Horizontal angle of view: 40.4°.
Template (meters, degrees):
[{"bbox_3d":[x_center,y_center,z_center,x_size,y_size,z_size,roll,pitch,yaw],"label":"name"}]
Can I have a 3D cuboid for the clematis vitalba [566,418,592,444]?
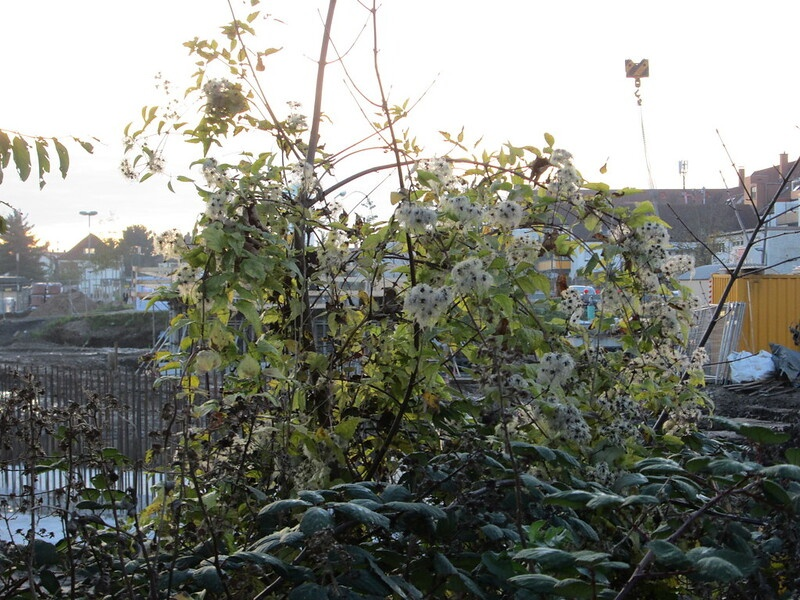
[{"bbox_3d":[0.779,0.568,4.728,0.093,0.111,0.098,-4,-8,16],"label":"clematis vitalba"}]

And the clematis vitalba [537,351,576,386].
[{"bbox_3d":[0.710,0.292,4.866,0.155,0.144,0.149,0,-38,7],"label":"clematis vitalba"}]

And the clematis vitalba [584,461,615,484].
[{"bbox_3d":[0.876,0.746,4.730,0.124,0.095,0.121,-2,-8,4],"label":"clematis vitalba"}]

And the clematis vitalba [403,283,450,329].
[{"bbox_3d":[0.120,0.008,4.904,0.179,0.191,0.141,3,16,0],"label":"clematis vitalba"}]

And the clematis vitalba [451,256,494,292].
[{"bbox_3d":[0.324,-0.112,4.780,0.143,0.091,0.165,-2,2,2],"label":"clematis vitalba"}]

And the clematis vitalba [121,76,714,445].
[{"bbox_3d":[0.239,0.061,5.169,2.567,1.789,2.166,0,10,-5],"label":"clematis vitalba"}]
